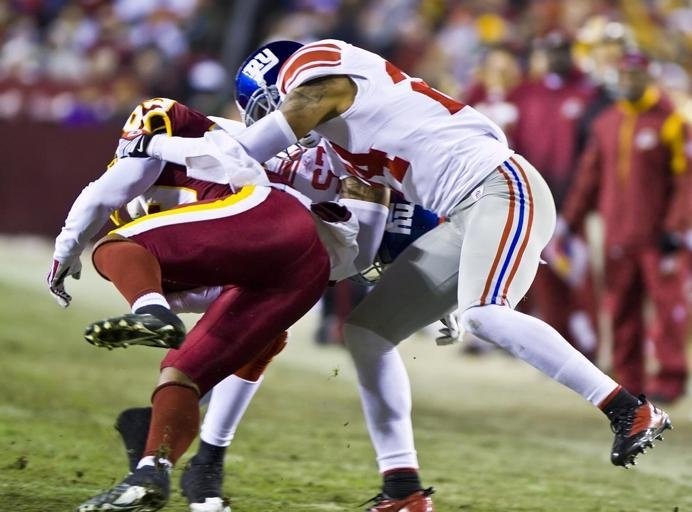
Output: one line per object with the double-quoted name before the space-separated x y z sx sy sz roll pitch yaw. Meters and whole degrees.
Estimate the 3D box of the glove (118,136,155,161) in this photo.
"glove" -0.870 -0.451 3.789 0.169 0.078 0.055 19 6 31

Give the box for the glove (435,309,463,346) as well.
"glove" 0.503 0.327 4.301 0.088 0.156 0.127 -9 -3 -17

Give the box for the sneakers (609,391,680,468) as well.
"sneakers" 1.171 0.698 3.671 0.260 0.288 0.150 15 8 -28

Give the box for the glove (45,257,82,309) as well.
"glove" -1.224 0.102 3.980 0.118 0.171 0.287 17 6 -16

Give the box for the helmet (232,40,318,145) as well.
"helmet" -0.285 -0.746 4.085 0.429 0.377 0.319 -21 -9 4

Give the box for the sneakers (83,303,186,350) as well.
"sneakers" -0.768 0.267 3.508 0.446 0.132 0.199 2 19 -4
